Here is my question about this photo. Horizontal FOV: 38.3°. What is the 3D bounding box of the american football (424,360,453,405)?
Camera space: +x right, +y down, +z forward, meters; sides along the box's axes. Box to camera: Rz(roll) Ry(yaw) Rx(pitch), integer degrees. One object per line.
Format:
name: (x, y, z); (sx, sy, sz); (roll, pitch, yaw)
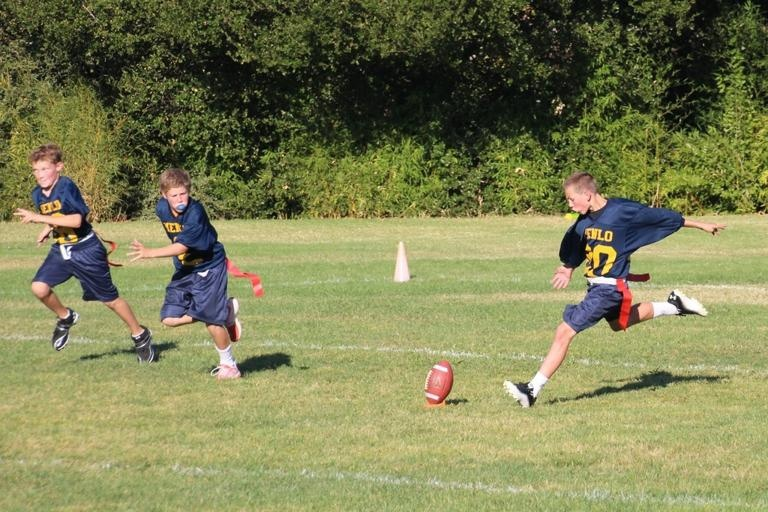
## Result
american football: (0.798, 1.854, 16.292); (0.375, 0.606, 0.393); (21, 1, -38)

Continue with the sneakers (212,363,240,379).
sneakers: (-2.428, 1.771, 17.107); (0.434, 0.180, 0.199); (2, 3, -3)

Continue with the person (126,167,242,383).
person: (-2.912, 0.268, 16.949); (1.310, 3.194, 0.919); (-3, 14, -8)

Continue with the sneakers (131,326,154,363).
sneakers: (-3.847, 1.426, 17.708); (0.248, 0.658, 0.283); (-10, 15, 10)
